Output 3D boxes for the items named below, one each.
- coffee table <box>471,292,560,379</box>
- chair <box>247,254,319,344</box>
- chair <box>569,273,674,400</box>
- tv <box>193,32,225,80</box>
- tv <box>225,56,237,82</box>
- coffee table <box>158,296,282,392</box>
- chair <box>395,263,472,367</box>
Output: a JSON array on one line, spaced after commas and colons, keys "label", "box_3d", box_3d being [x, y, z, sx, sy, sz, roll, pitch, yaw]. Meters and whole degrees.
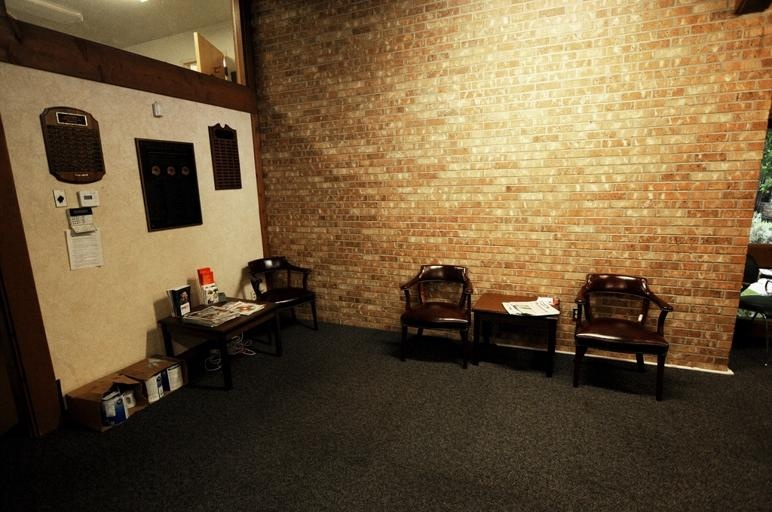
[{"label": "coffee table", "box_3d": [1.474, 0.854, 5.896, 0.966, 0.636, 0.778, 6, 14, 27]}, {"label": "chair", "box_3d": [-1.356, 0.529, 6.646, 0.707, 0.893, 0.734, 11, 19, 43]}, {"label": "chair", "box_3d": [2.467, 0.820, 5.494, 0.953, 1.031, 0.886, 9, 17, 31]}, {"label": "tv", "box_3d": [-2.135, -2.347, 6.485, 0.119, 0.373, 0.557, 15, 15, 9]}, {"label": "tv", "box_3d": [-2.185, -2.629, 7.338, 0.131, 0.317, 0.131, -2, 9, -11]}, {"label": "coffee table", "box_3d": [-1.838, 1.059, 5.871, 1.058, 0.589, 1.007, 7, 17, 26]}, {"label": "chair", "box_3d": [0.558, 0.660, 6.109, 0.870, 1.061, 0.849, 1, 9, 8]}]
